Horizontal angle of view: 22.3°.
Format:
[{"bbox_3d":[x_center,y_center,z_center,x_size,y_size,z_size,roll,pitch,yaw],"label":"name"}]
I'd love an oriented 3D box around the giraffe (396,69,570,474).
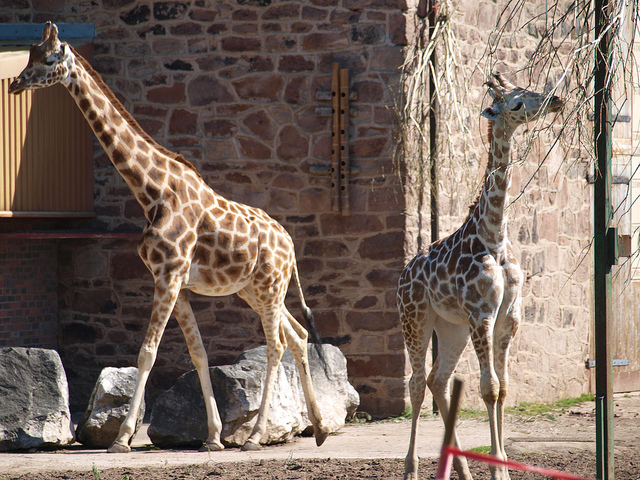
[{"bbox_3d":[1.483,0.327,15.978,1.446,3.825,3.730,-1,1,3],"label":"giraffe"}]
